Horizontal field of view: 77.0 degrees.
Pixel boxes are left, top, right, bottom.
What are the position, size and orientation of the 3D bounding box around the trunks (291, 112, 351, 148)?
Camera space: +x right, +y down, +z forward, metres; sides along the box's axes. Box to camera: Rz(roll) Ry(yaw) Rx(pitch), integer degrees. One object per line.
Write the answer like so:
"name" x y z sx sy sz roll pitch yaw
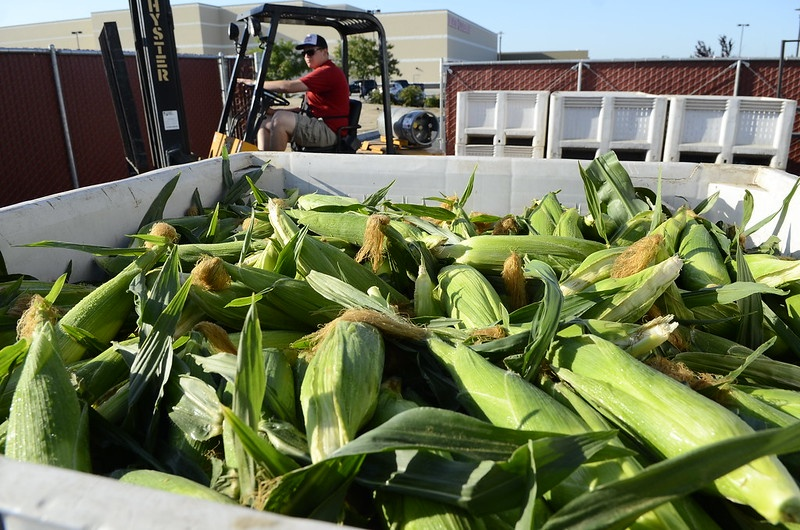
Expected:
"trunks" -1.315 -2.026 7.827 0.650 0.529 0.303 2 20 -43
